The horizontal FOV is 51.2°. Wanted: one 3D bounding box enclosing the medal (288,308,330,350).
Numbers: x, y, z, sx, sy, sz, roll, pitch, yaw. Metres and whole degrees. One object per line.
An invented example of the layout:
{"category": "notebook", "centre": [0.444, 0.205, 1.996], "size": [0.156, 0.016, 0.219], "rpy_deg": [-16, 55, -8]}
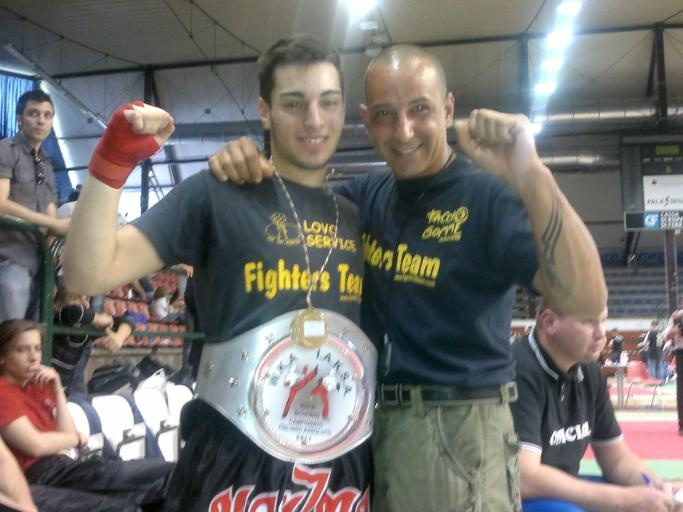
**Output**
{"category": "medal", "centre": [-0.150, 0.321, 3.242], "size": [0.161, 0.174, 0.033], "rpy_deg": [0, -4, -7]}

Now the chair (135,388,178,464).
{"category": "chair", "centre": [-1.360, 1.231, 5.309], "size": [0.302, 0.541, 0.341], "rpy_deg": [-2, 9, -24]}

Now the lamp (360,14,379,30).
{"category": "lamp", "centre": [0.407, -3.396, 10.356], "size": [0.264, 0.087, 0.343], "rpy_deg": [-1, -4, 0]}

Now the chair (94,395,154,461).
{"category": "chair", "centre": [-1.495, 1.155, 4.922], "size": [0.285, 0.403, 0.366], "rpy_deg": [3, 9, -2]}
